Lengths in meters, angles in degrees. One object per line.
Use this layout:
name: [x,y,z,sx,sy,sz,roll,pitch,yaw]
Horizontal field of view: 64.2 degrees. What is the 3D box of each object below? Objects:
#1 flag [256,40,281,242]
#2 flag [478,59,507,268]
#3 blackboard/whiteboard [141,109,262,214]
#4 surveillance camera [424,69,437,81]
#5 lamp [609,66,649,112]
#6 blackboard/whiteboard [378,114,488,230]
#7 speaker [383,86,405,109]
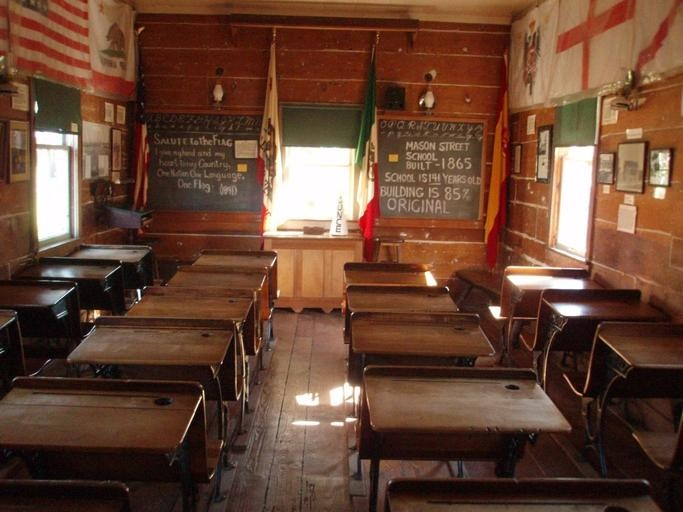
flag: [-0.874,-1.472,6.445,0.280,2.399,0.326,11,41,1]
flag: [1.898,-1.141,6.617,0.249,2.539,0.509,3,15,16]
blackboard/whiteboard: [-1.699,-1.163,6.731,1.418,1.188,0.027,1,3,1]
surveillance camera: [1.077,-2.158,6.591,0.114,0.150,0.108,-6,30,33]
lamp: [2.224,-1.318,4.248,0.228,0.351,0.172,11,13,24]
blackboard/whiteboard: [1.108,-1.105,6.755,1.372,1.256,0.105,0,5,-3]
speaker: [0.621,-1.867,6.612,0.318,0.321,0.243,1,2,0]
